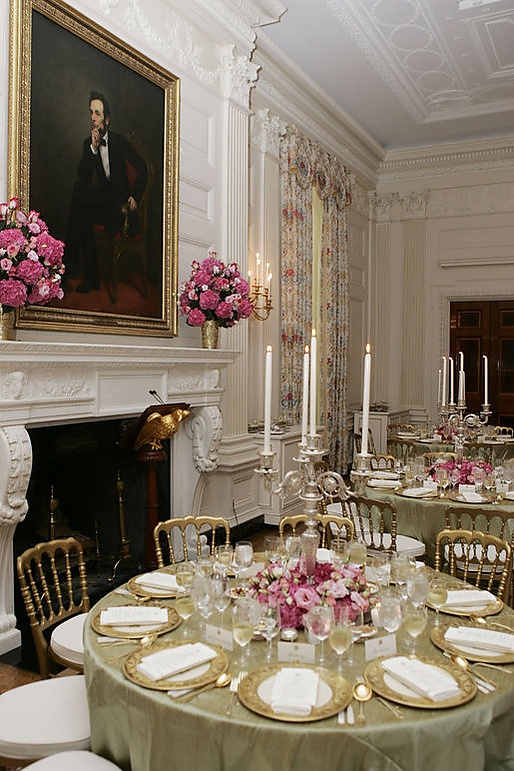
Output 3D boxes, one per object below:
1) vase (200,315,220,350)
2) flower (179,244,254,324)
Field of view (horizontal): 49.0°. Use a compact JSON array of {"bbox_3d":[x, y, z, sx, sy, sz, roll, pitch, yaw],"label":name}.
[{"bbox_3d":[-0.377,-0.416,4.515,0.205,0.319,0.196,1,-1,-2],"label":"vase"},{"bbox_3d":[-0.350,-0.668,4.533,0.588,0.672,0.618,-2,2,14],"label":"flower"}]
